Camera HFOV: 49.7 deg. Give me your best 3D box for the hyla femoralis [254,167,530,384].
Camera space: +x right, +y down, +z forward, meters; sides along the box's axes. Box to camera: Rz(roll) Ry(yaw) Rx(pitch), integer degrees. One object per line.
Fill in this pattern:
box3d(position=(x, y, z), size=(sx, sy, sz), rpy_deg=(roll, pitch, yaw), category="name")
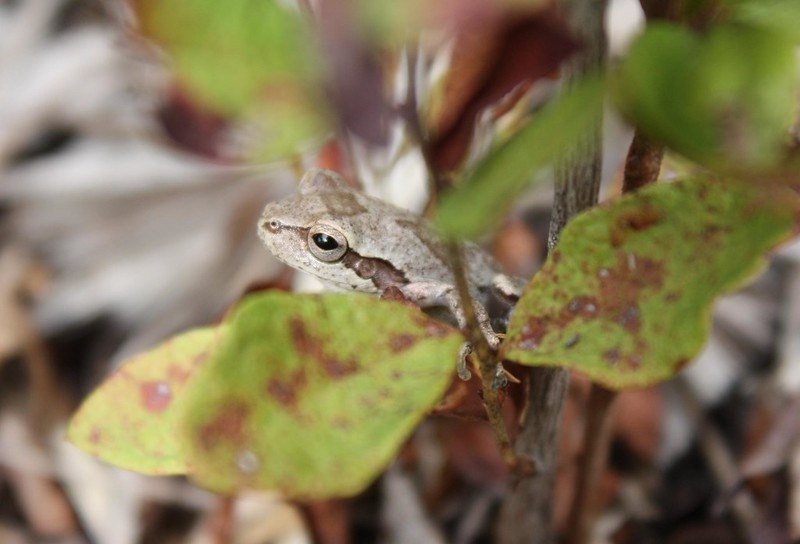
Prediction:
box3d(position=(-0.012, -0.010, 0.905), size=(0.227, 0.196, 0.094), rpy_deg=(15, -68, -20), category="hyla femoralis")
